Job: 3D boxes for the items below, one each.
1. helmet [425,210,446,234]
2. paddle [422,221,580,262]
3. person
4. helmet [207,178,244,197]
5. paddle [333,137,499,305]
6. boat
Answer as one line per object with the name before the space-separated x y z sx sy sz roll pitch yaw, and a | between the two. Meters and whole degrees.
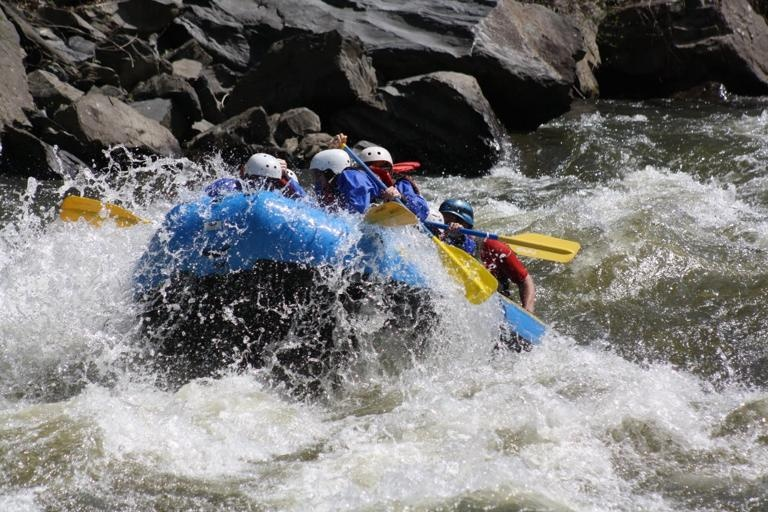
helmet | 0.640 -0.438 14.109 0.225 0.296 0.297 -12 0 9
paddle | 1.475 -0.167 14.242 1.729 0.361 0.083 13 18 -3
person | -0.279 -0.353 14.222 3.454 0.198 0.698 41 44 4
helmet | -1.942 -0.848 13.674 0.345 0.114 0.256 -5 15 22
paddle | 0.388 -0.148 13.535 0.872 1.932 0.132 -48 7 -40
boat | -0.762 0.746 13.443 3.897 1.180 2.140 30 -11 -16
